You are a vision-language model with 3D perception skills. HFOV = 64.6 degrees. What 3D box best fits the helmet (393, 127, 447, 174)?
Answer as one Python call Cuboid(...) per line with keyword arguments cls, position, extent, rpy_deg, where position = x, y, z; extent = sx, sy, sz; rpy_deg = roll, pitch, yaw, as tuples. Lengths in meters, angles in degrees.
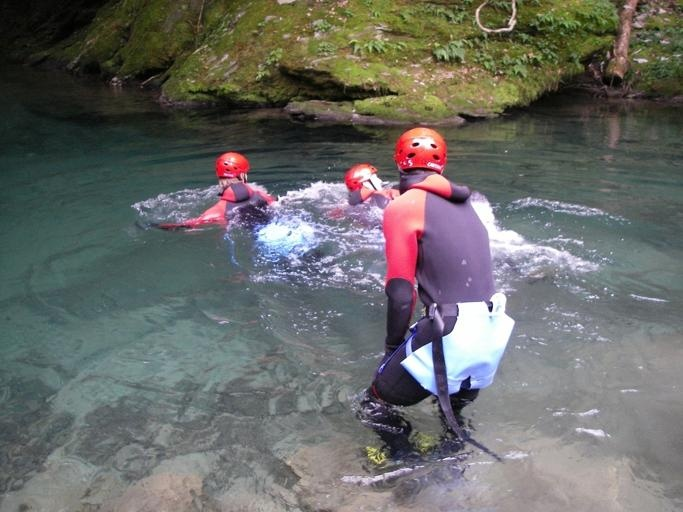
Cuboid(cls="helmet", position=(0.712, -0.983, 4.911), extent=(0.474, 0.395, 0.487), rpy_deg=(3, 16, 5))
